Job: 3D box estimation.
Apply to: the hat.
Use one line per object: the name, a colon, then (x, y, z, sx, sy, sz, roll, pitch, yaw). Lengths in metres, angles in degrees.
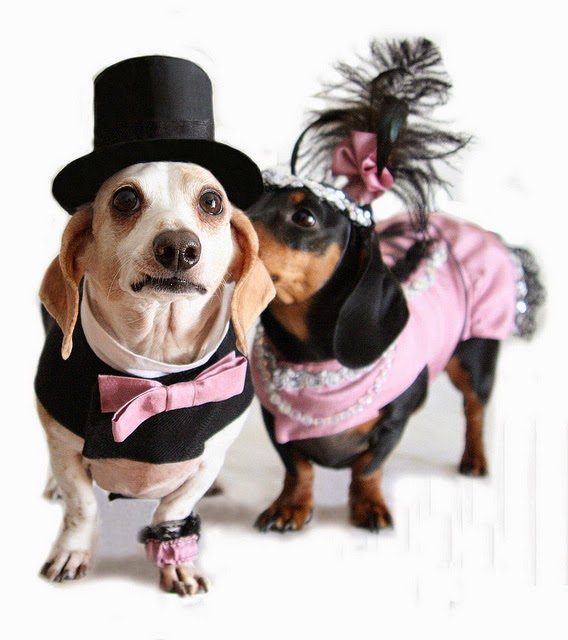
hat: (-0.418, -0.624, 2.815, 0.500, 0.456, 0.672, -20, 39, -39)

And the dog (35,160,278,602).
dog: (-0.429, 0.248, 2.882, 0.680, 1.487, 0.818, 2, 35, -11)
